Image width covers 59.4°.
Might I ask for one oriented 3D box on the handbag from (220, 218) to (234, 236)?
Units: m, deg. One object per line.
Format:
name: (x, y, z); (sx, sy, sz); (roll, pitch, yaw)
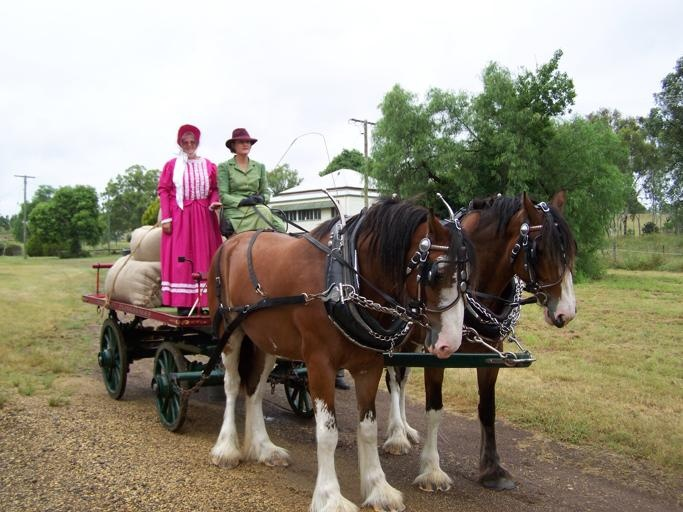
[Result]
handbag: (-1.614, -0.396, 8.385); (0.179, 0.209, 0.251); (-4, -45, 4)

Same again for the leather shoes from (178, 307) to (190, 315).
leather shoes: (-2.103, 0.727, 7.960); (0.114, 0.089, 0.114); (6, -6, -30)
